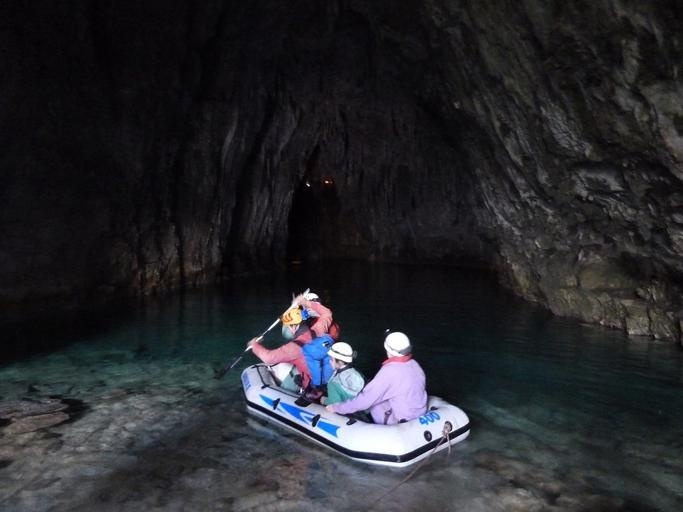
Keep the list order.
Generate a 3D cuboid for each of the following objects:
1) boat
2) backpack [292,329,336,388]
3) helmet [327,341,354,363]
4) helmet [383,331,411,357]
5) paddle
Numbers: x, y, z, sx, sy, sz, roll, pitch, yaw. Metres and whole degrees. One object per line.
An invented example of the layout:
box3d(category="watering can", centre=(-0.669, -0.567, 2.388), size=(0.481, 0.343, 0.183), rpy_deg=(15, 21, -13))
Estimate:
box3d(category="boat", centre=(-0.074, 2.453, 7.744), size=(2.354, 0.555, 1.381), rpy_deg=(6, 4, 43))
box3d(category="backpack", centre=(-0.424, 1.595, 8.305), size=(0.531, 0.750, 0.276), rpy_deg=(-9, 21, -15))
box3d(category="helmet", centre=(-0.014, 1.419, 7.666), size=(0.327, 0.196, 0.249), rpy_deg=(28, 3, 6))
box3d(category="helmet", centre=(0.758, 1.188, 7.297), size=(0.264, 0.315, 0.365), rpy_deg=(4, 18, -5))
box3d(category="paddle", centre=(-1.889, 1.772, 11.988), size=(2.445, 0.291, 0.181), rpy_deg=(-43, 5, 19))
